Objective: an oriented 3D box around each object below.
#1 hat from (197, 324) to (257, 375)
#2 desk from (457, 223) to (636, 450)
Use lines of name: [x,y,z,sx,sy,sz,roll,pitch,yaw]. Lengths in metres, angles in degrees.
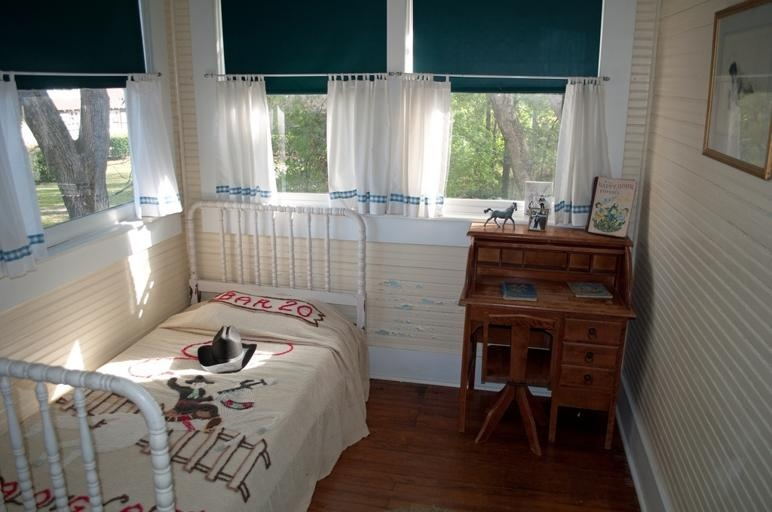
hat: [-1.181,0.647,3.865,0.330,0.156,0.372,3,20,-6]
desk: [1.282,0.610,4.016,1.452,1.820,1.195,3,18,14]
